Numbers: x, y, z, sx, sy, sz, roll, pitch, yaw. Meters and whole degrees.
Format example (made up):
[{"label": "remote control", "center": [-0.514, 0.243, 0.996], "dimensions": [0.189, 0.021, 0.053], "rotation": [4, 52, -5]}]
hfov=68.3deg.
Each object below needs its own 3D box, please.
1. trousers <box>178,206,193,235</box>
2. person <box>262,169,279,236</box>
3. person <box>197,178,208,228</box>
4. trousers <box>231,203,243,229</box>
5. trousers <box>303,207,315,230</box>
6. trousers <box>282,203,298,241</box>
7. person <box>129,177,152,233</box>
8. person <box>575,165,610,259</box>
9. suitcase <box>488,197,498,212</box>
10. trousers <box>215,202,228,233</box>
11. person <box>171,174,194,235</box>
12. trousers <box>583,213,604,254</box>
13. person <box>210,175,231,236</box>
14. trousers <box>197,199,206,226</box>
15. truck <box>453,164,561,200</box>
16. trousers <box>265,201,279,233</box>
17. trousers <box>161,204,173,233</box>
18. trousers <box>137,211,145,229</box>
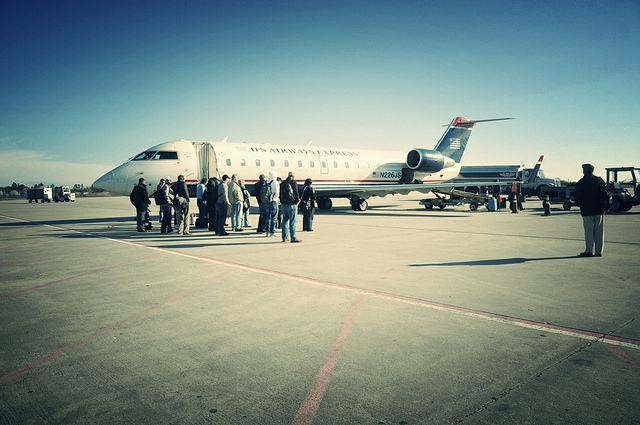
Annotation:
[{"label": "trousers", "center": [-4.877, 0.266, 17.304], "dimensions": [0.516, 1.003, 0.758], "rotation": [1, 2, 10]}, {"label": "person", "center": [-1.772, -0.322, 16.791], "dimensions": [0.575, 2.247, 1.483], "rotation": [1, 1, -6]}, {"label": "person", "center": [-4.889, -0.395, 19.594], "dimensions": [0.417, 2.024, 0.639], "rotation": [1, 1, -15]}, {"label": "trousers", "center": [-3.229, 0.129, 18.162], "dimensions": [0.398, 1.005, 0.602], "rotation": [1, 1, -10]}, {"label": "trousers", "center": [-0.453, 0.246, 17.413], "dimensions": [0.345, 0.815, 1.143], "rotation": [1, 2, -3]}, {"label": "trousers", "center": [-0.970, 0.282, 14.962], "dimensions": [0.468, 1.181, 0.565], "rotation": [1, 1, -5]}, {"label": "person", "center": [-6.985, -0.305, 18.405], "dimensions": [0.635, 2.029, 1.328], "rotation": [0, 2, -26]}, {"label": "person", "center": [6.787, -0.051, 11.798], "dimensions": [0.754, 2.305, 0.516], "rotation": [2, 1, 26]}, {"label": "suitcase", "center": [9.873, -0.430, 27.324], "dimensions": [0.625, 1.014, 1.084], "rotation": [-1, 1, 27]}, {"label": "trousers", "center": [-3.636, 0.183, 17.076], "dimensions": [0.388, 1.075, 0.921], "rotation": [0, 2, -28]}, {"label": "person", "center": [-5.066, -0.303, 17.354], "dimensions": [0.694, 2.148, 1.042], "rotation": [1, 1, -16]}, {"label": "trousers", "center": [6.824, 0.522, 11.788], "dimensions": [0.415, 0.938, 0.195], "rotation": [1, 1, 18]}, {"label": "person", "center": [-3.513, -0.271, 16.836], "dimensions": [0.554, 2.136, 0.852], "rotation": [1, 1, -21]}, {"label": "trousers", "center": [-4.915, -0.006, 19.556], "dimensions": [0.390, 1.093, 0.250], "rotation": [0, 1, -28]}, {"label": "truck", "center": [19.870, -3.242, 51.140], "dimensions": [11.696, 3.540, 3.246], "rotation": [0, -6, 45]}, {"label": "trousers", "center": [-1.716, 0.155, 16.555], "dimensions": [0.402, 1.120, 0.711], "rotation": [0, 2, -24]}, {"label": "trousers", "center": [-5.773, 0.212, 17.764], "dimensions": [0.410, 1.065, 0.760], "rotation": [1, 2, -18]}, {"label": "trousers", "center": [-6.910, 0.285, 18.176], "dimensions": [0.252, 0.678, 0.317], "rotation": [0, 1, -21]}]
